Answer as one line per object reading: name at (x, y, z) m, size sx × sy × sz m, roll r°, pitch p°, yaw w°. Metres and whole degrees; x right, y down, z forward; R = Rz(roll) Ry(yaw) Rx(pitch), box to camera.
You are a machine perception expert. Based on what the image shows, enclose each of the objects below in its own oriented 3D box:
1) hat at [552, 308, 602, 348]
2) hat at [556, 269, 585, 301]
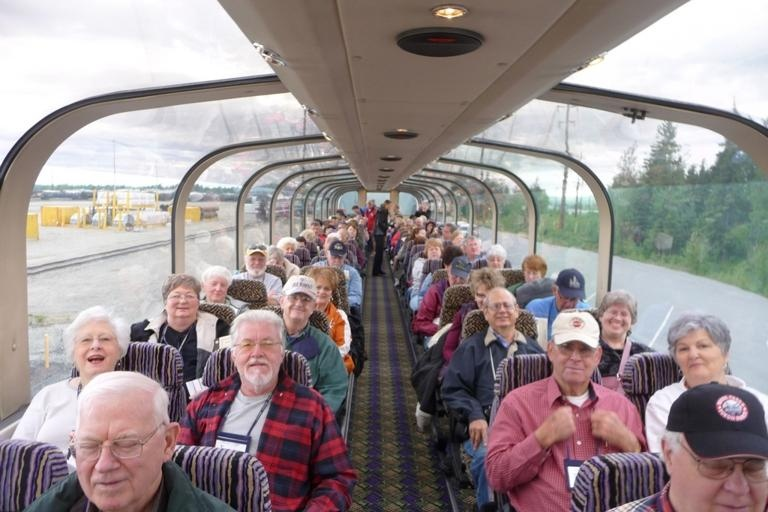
hat at (1.443, 0.529, 3.717) m, size 0.347 × 0.259 × 0.499 m, roll 3°, pitch 2°, yaw 15°
hat at (2.166, 0.339, 5.743) m, size 0.250 × 0.213 × 0.379 m, roll 5°, pitch 15°, yaw -1°
